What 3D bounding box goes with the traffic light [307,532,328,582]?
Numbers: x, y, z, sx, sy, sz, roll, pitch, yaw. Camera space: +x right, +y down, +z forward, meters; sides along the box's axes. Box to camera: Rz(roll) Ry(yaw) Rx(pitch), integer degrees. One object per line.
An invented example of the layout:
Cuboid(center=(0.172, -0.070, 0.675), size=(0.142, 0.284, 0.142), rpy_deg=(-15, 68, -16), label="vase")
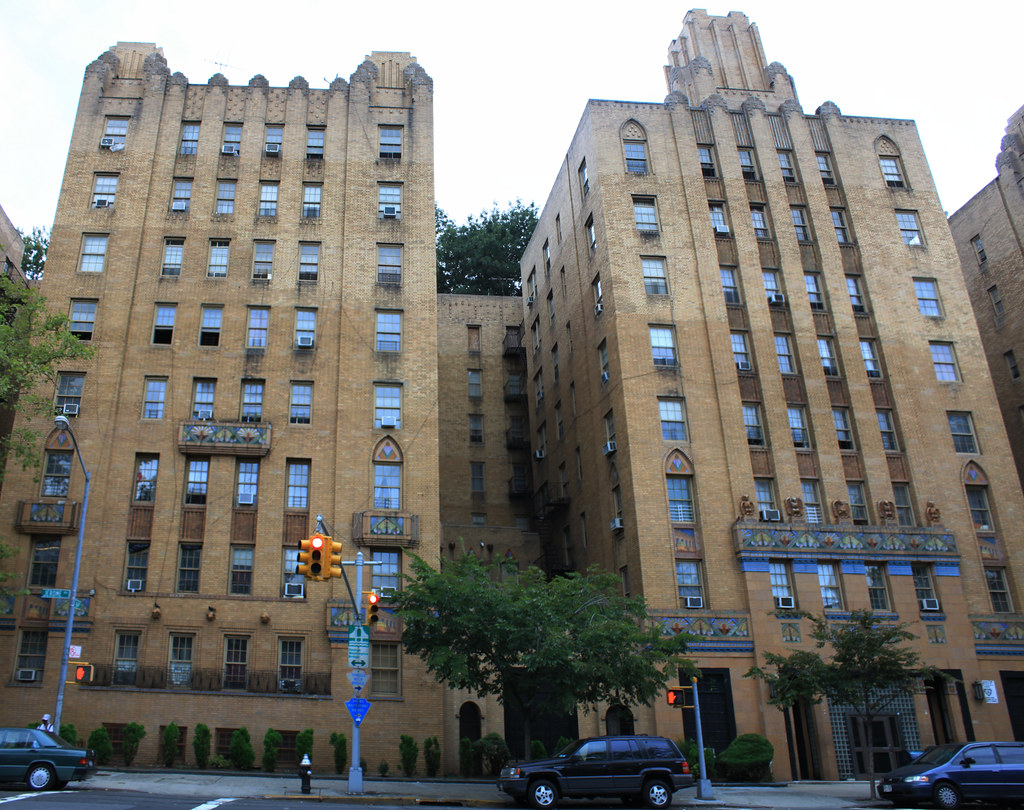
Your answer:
Cuboid(center=(-5.707, 4.386, 25.836), size=(0.451, 1.283, 0.797), rpy_deg=(4, -26, -11), label="traffic light")
